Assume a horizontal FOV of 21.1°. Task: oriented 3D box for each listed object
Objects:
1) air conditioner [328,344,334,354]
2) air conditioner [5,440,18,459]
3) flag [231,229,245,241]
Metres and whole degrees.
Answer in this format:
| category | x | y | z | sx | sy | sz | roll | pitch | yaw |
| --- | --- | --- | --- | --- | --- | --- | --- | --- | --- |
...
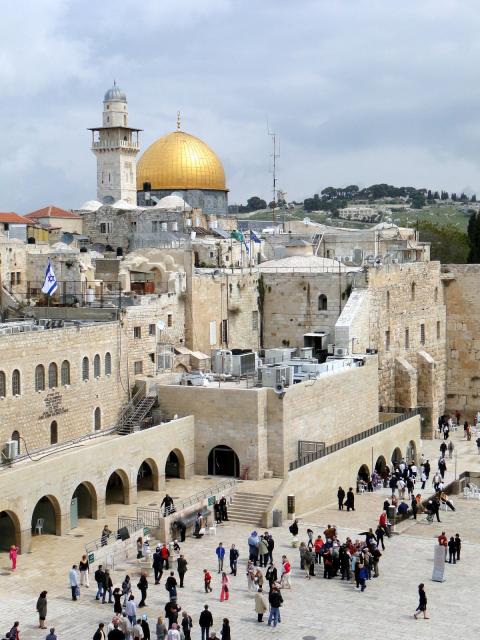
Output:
| category | x | y | z | sx | sy | sz | roll | pitch | yaw |
| --- | --- | --- | --- | --- | --- | --- | --- | --- | --- |
| air conditioner | 3.830 | 1.137 | 54.031 | 0.250 | 0.604 | 0.269 | -2 | -6 | 22 |
| air conditioner | -6.653 | 3.769 | 37.529 | 0.266 | 0.755 | 0.403 | 3 | 6 | 24 |
| flag | -0.035 | -4.890 | 71.108 | 0.506 | 0.434 | 0.995 | 3 | -7 | 9 |
